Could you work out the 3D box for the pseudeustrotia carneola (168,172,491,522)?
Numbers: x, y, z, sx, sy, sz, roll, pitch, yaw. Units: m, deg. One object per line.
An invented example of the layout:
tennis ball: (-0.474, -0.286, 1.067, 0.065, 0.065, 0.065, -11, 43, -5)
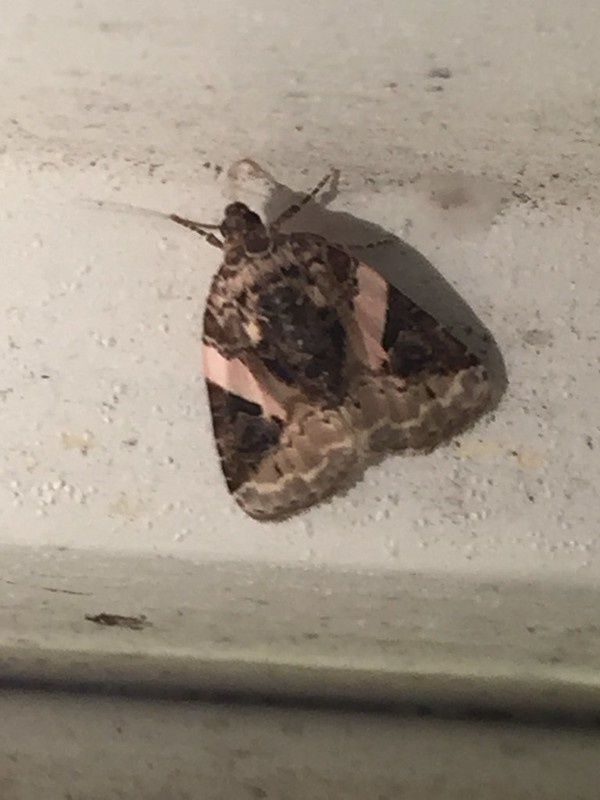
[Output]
pseudeustrotia carneola: (0.079, -0.124, 2.728, 0.594, 0.563, 0.542, -9, 46, -6)
